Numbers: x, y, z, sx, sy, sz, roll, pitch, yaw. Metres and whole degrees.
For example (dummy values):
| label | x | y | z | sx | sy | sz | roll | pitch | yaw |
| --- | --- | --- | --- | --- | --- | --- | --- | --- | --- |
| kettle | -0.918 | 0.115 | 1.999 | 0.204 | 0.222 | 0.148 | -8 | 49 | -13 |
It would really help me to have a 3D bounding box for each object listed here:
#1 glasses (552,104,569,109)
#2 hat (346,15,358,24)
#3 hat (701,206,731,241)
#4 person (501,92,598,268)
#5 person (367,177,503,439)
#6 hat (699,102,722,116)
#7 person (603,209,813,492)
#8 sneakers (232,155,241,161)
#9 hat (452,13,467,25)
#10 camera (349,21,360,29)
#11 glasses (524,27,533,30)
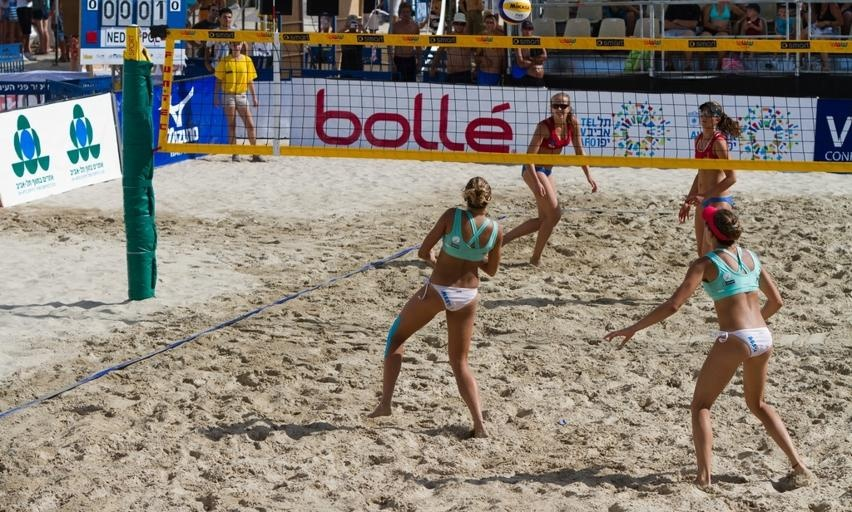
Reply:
| label | x | y | z | sx | sy | sz | roll | pitch | yaw |
| --- | --- | --- | --- | --- | --- | --- | --- | --- | --- |
| glasses | 1.699 | -1.886 | 12.527 | 0.190 | 0.075 | 0.055 | 3 | 15 | 5 |
| hat | -1.515 | -4.941 | 20.692 | 0.240 | 0.223 | 0.217 | -2 | 15 | -10 |
| hat | 2.899 | -0.325 | 9.818 | 0.380 | 0.114 | 0.274 | 32 | 15 | 27 |
| person | 1.579 | -0.946 | 12.853 | 0.910 | 2.338 | 1.357 | 7 | 16 | 20 |
| person | 0.152 | 0.659 | 10.176 | 1.174 | 2.307 | 0.593 | 2 | 15 | 3 |
| hat | 3.416 | -1.759 | 11.809 | 0.168 | 0.096 | 0.211 | 4 | 0 | 10 |
| person | 2.953 | 0.925 | 9.543 | 1.518 | 2.586 | 0.704 | 8 | 16 | 22 |
| sneakers | -3.486 | -1.789 | 18.262 | 0.146 | 0.155 | 0.145 | 0 | 3 | 32 |
| hat | 0.714 | -4.823 | 20.227 | 0.379 | 0.246 | 0.508 | 2 | 1 | 5 |
| camera | -1.476 | -4.777 | 20.552 | 0.214 | 0.152 | 0.217 | 3 | 5 | 4 |
| glasses | 1.895 | -4.175 | 18.167 | 0.174 | 0.062 | 0.179 | 1 | 7 | 3 |
